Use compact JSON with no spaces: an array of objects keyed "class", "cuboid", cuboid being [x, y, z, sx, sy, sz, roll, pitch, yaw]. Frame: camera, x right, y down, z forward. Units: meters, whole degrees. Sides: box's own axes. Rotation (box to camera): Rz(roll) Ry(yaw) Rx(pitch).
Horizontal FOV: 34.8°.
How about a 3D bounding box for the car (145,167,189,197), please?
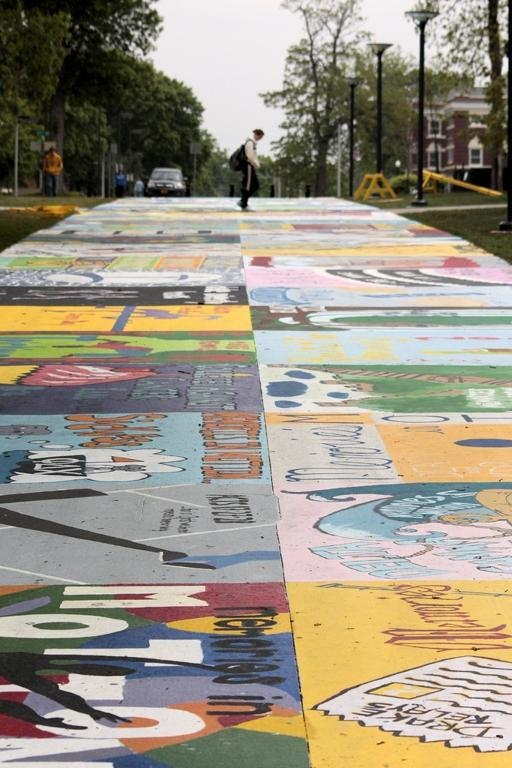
[{"class":"car","cuboid":[-4.563,-10.155,41.287,1.860,1.737,3.010,1,7,-9]}]
